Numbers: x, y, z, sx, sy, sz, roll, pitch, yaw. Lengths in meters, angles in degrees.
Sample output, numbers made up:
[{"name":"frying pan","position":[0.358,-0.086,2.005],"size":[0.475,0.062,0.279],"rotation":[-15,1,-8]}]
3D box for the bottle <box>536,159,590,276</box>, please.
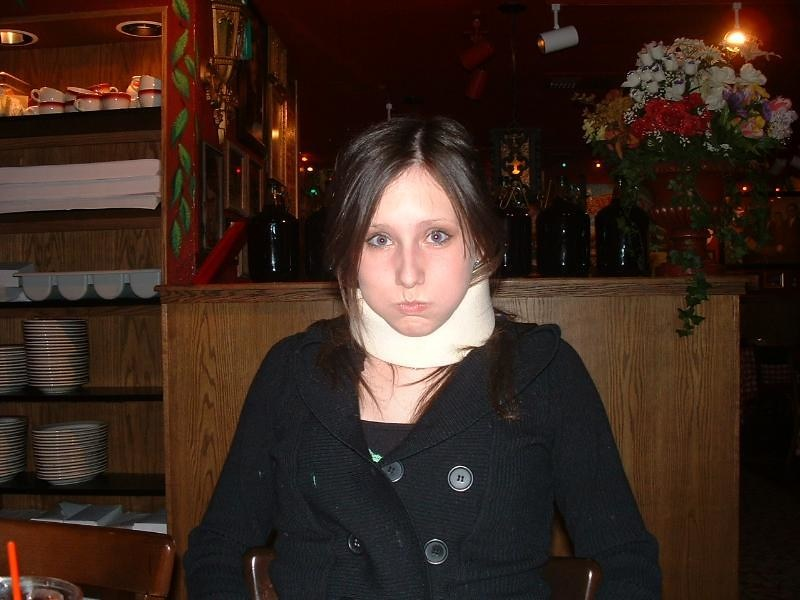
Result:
[{"name":"bottle","position":[0.557,-0.261,2.584],"size":[0.192,0.343,0.189],"rotation":[0,-3,0]}]
